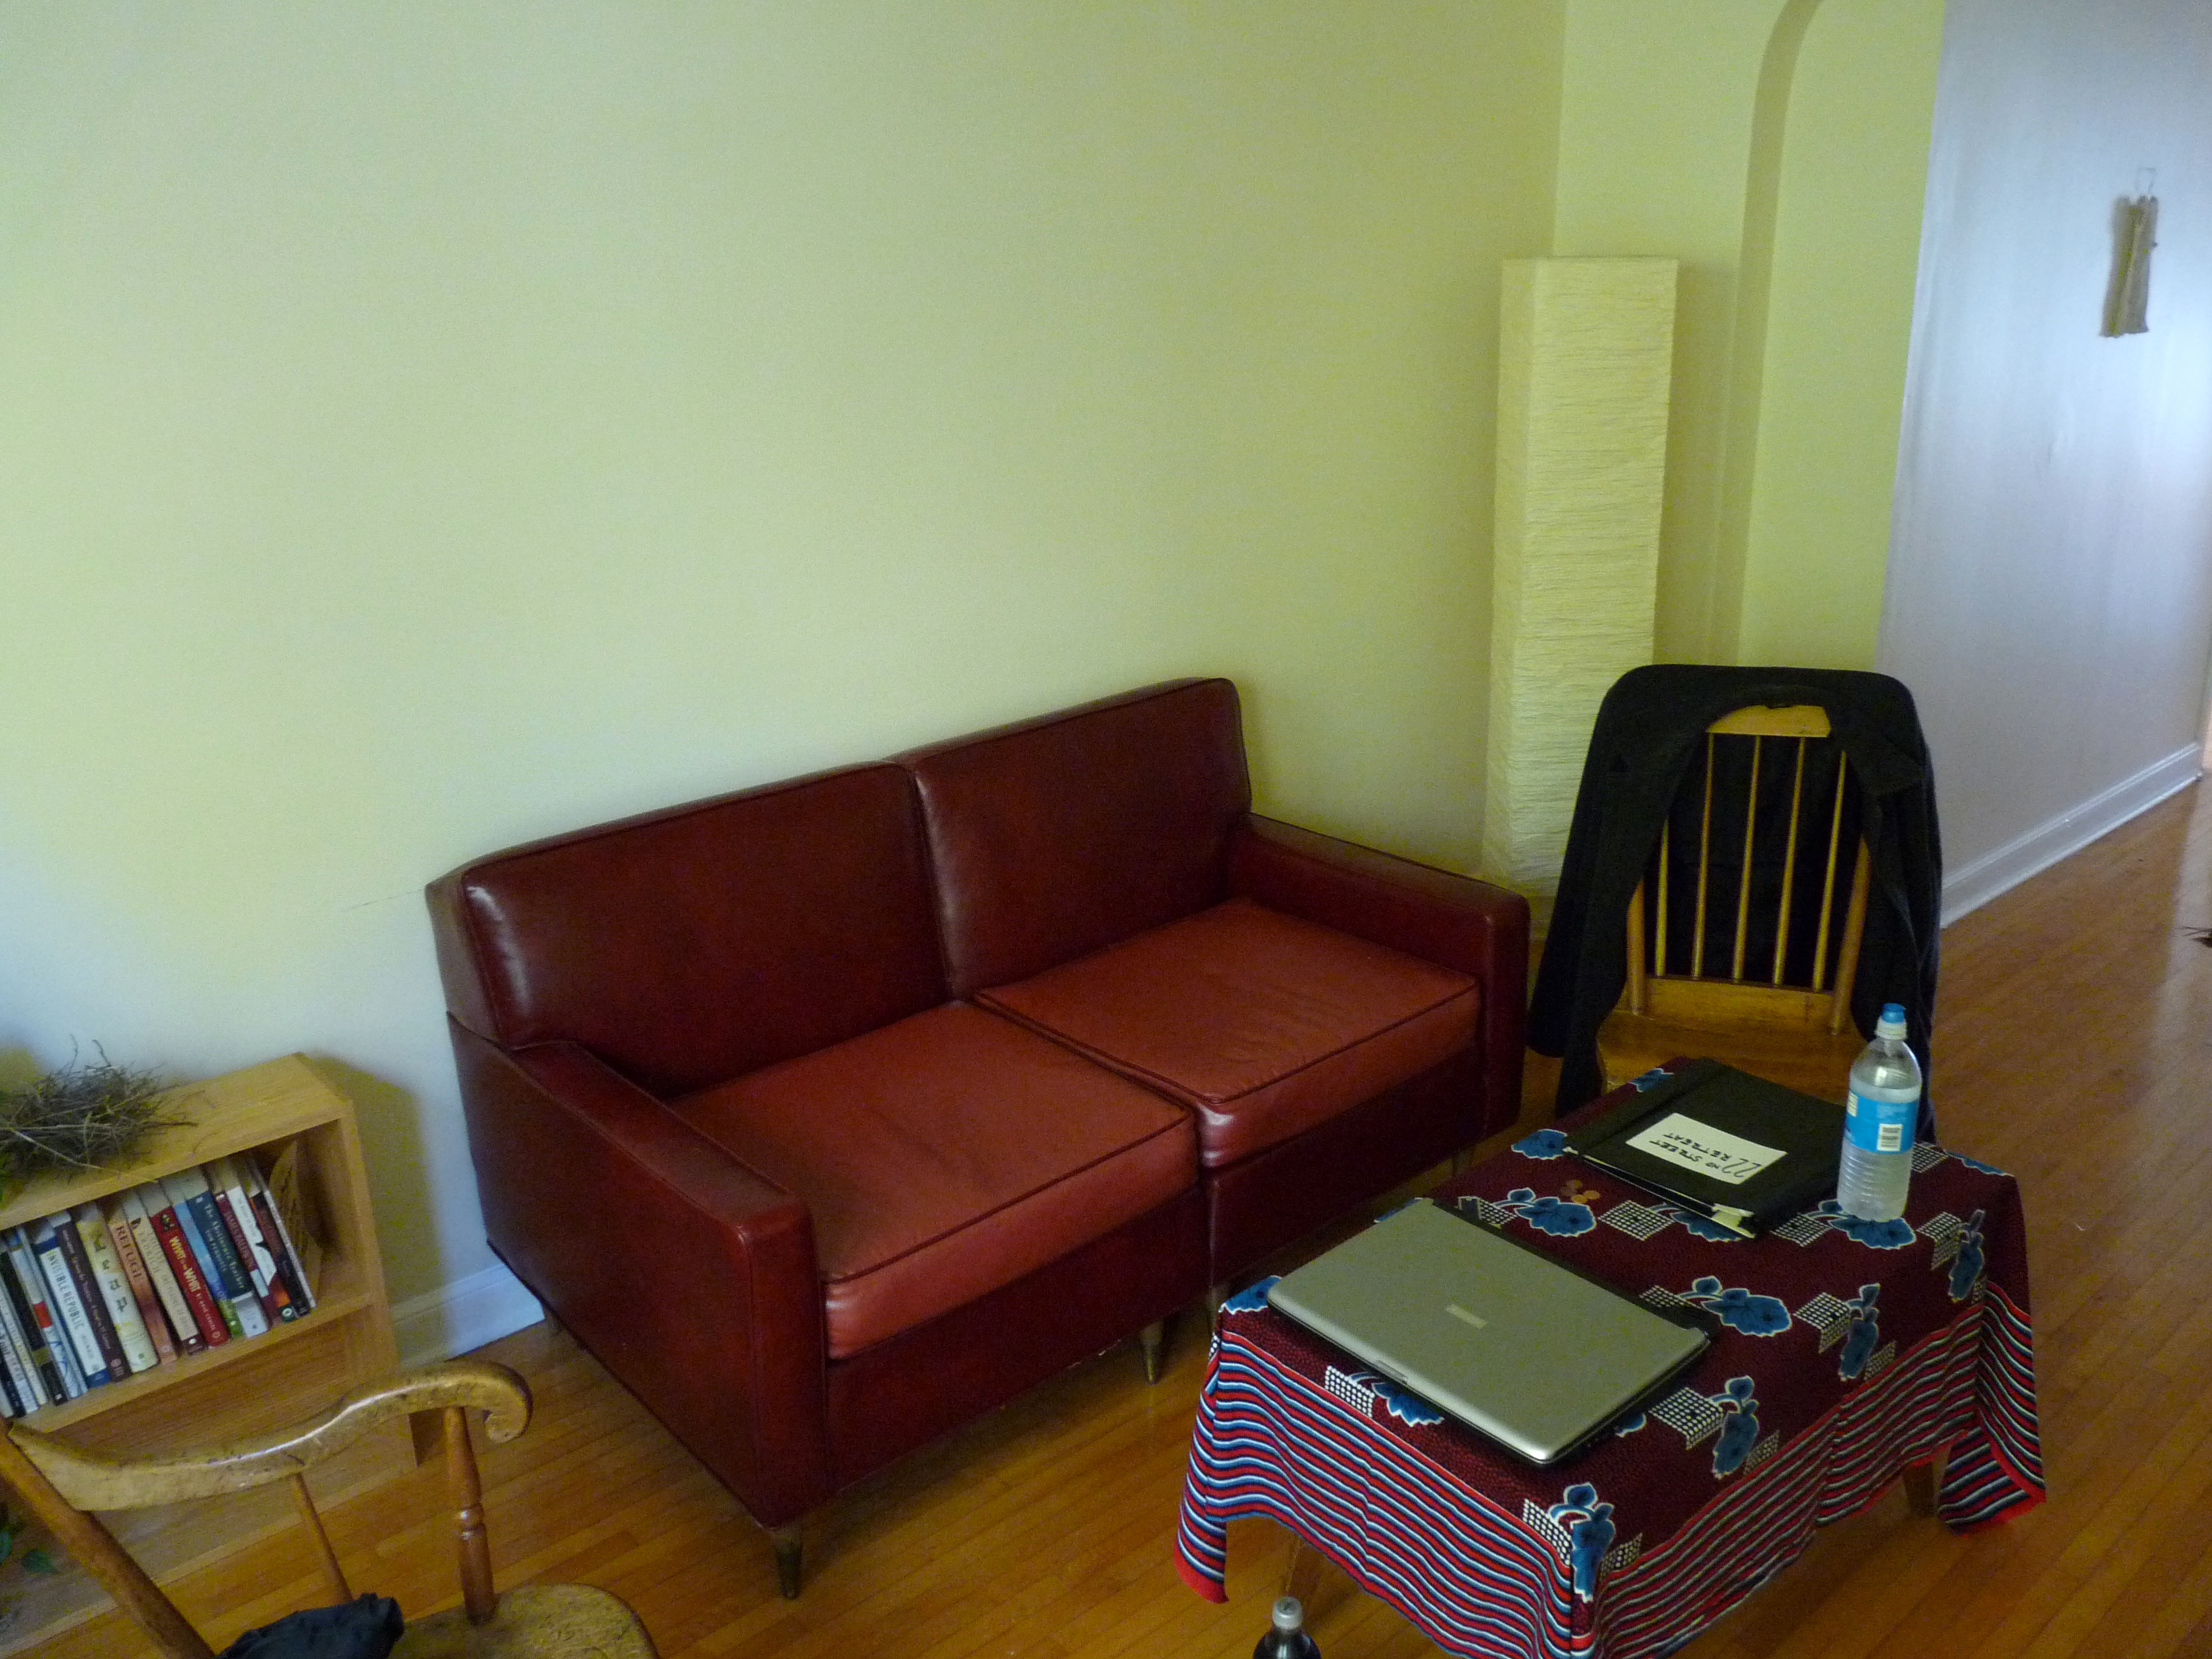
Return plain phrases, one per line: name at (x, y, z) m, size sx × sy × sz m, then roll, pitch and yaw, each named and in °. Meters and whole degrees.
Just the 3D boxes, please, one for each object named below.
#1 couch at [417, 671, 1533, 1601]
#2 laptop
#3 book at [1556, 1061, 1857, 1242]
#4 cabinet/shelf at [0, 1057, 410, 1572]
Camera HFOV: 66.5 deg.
couch at (-0.162, 0.403, 3.461) m, size 1.216 × 1.009 × 2.057 m, roll 15°, pitch 24°, yaw 42°
laptop at (0.547, 0.724, 2.480) m, size 0.544 × 0.107 × 0.342 m, roll 13°, pitch 26°, yaw 40°
book at (1.018, 0.526, 2.822) m, size 0.279 × 0.069 × 0.271 m, roll 17°, pitch 31°, yaw 40°
cabinet/shelf at (-1.477, 0.783, 2.728) m, size 0.241 × 0.658 × 0.687 m, roll 8°, pitch 24°, yaw 39°
